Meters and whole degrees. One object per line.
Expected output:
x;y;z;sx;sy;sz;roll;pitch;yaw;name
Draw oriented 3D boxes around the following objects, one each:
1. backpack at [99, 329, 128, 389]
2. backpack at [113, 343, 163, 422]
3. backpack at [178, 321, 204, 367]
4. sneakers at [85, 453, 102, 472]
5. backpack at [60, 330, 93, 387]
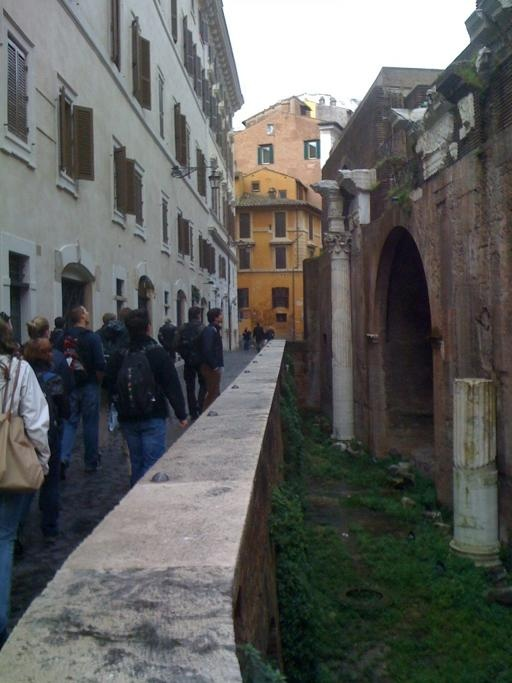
-1.115;0.204;5.739;0.208;0.224;0.686;-9;45;-11;backpack
-0.878;0.308;5.249;0.342;0.559;0.250;-3;0;-1;backpack
-0.916;0.014;10.094;0.371;0.650;0.325;-1;25;-12;backpack
-1.612;1.216;7.170;0.061;0.204;0.231;4;9;6;sneakers
-1.731;0.104;6.970;0.310;0.623;0.193;0;6;8;backpack
